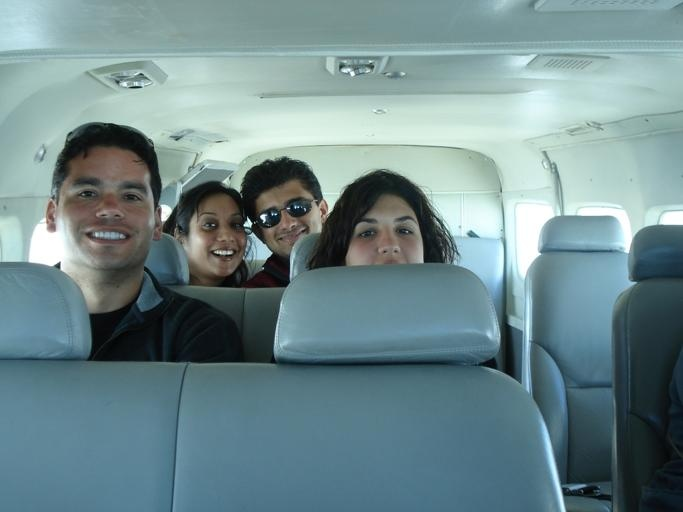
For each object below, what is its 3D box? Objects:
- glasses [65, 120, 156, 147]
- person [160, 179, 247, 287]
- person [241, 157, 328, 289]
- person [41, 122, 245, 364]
[{"bbox_3d":[-0.883,-0.459,2.415,0.162,0.052,0.169,-4,-6,32],"label":"glasses"},{"bbox_3d":[-0.752,-0.102,3.709,0.515,0.705,0.505,2,3,45],"label":"person"},{"bbox_3d":[-0.312,-0.190,3.625,0.510,0.726,0.428,-8,10,-1],"label":"person"},{"bbox_3d":[-0.811,-0.063,2.564,1.009,0.897,0.488,-1,-19,-10],"label":"person"}]
